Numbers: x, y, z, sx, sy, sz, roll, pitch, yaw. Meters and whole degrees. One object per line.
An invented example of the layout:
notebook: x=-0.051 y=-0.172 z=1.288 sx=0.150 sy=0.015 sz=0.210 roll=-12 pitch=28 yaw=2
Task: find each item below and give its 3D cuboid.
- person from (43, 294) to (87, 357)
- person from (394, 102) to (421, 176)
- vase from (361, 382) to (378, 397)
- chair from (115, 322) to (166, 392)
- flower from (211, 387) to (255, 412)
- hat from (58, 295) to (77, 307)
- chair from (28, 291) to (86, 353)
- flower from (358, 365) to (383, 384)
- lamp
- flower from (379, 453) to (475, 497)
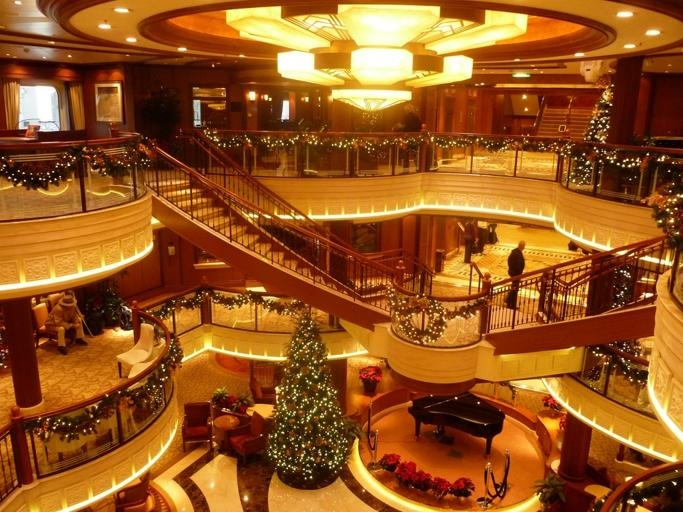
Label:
person: x=-6.300 y=1.482 z=11.910 sx=0.842 sy=1.155 sz=0.722 roll=10 pitch=11 yaw=12
person: x=1.942 y=-3.467 z=15.624 sx=0.733 sy=1.970 sz=1.545 roll=0 pitch=17 yaw=7
vase: x=0.877 y=4.247 z=16.821 sx=0.431 sy=0.316 sz=0.405 roll=-7 pitch=14 yaw=-40
chair: x=-3.935 y=2.014 z=10.360 sx=0.774 sy=1.282 sz=0.815 roll=18 pitch=20 yaw=24
flower: x=-3.088 y=4.040 z=14.536 sx=0.672 sy=0.256 sz=0.741 roll=11 pitch=9 yaw=18
hat: x=-6.179 y=1.011 z=11.834 sx=0.366 sy=0.246 sz=0.390 roll=-6 pitch=17 yaw=-17
chair: x=-6.284 y=1.516 z=11.588 sx=1.179 sy=1.348 sz=0.926 roll=7 pitch=31 yaw=4
flower: x=0.947 y=3.779 z=16.922 sx=0.563 sy=0.384 sz=0.591 roll=2 pitch=7 yaw=17
lamp: x=0.428 y=-2.690 z=7.081 sx=3.638 sy=1.393 sz=2.172 roll=1 pitch=16 yaw=7
flower: x=2.102 y=5.602 z=13.334 sx=1.320 sy=0.389 sz=0.403 roll=17 pitch=4 yaw=28
